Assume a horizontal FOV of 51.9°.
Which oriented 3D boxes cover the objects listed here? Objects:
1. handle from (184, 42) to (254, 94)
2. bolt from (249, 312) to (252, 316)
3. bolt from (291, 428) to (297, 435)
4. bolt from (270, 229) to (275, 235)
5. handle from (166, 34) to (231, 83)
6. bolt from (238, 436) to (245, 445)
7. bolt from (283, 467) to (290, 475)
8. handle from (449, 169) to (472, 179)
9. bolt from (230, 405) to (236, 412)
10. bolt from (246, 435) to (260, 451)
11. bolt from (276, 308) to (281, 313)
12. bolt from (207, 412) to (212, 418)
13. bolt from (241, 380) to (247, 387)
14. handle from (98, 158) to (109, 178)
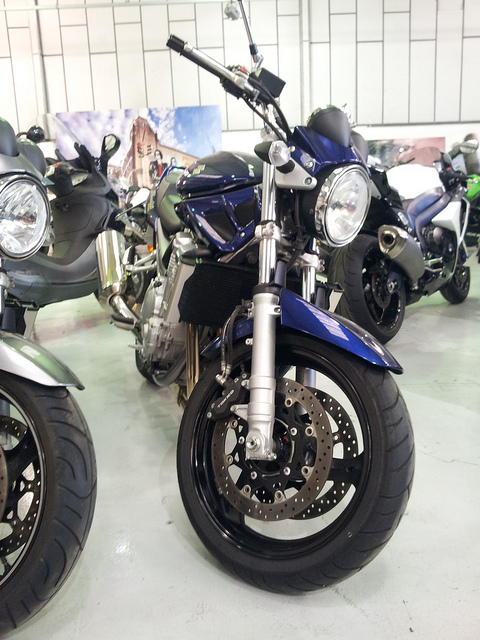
[{"bbox_3d":[-0.047,-0.475,0.938,0.031,0.031,0.196,-22,-13,35],"label":"handle"},{"bbox_3d":[0.023,-0.014,1.087,0.006,0.006,0.011,-5,12,-5],"label":"bolt"},{"bbox_3d":[0.110,0.225,1.001,0.015,0.012,0.007,7,16,43],"label":"bolt"},{"bbox_3d":[0.068,-0.185,1.036,0.010,0.009,0.016,-2,-3,0],"label":"bolt"},{"bbox_3d":[-0.069,-0.490,0.939,0.153,0.023,0.031,18,-43,-34],"label":"handle"},{"bbox_3d":[0.004,0.273,1.120,0.008,0.020,0.021,-13,15,-38],"label":"bolt"},{"bbox_3d":[0.094,0.305,1.000,0.004,0.016,0.018,-15,16,-41],"label":"bolt"},{"bbox_3d":[1.536,-1.010,3.418,0.192,0.069,0.075,-11,14,-31],"label":"handle"},{"bbox_3d":[-0.016,0.198,1.099,0.011,0.019,0.026,-6,12,-9],"label":"bolt"},{"bbox_3d":[0.026,0.239,0.965,0.028,0.029,0.010,5,15,38],"label":"bolt"},{"bbox_3d":[0.079,-0.020,1.011,0.009,0.009,0.002,3,-4,22],"label":"bolt"},{"bbox_3d":[-0.073,0.222,1.154,0.011,0.011,0.004,11,10,39],"label":"bolt"},{"bbox_3d":[0.008,0.140,1.088,0.012,0.012,0.004,-10,-19,38],"label":"bolt"},{"bbox_3d":[-0.920,-1.027,3.352,0.025,0.077,0.107,5,-6,-10],"label":"handle"}]
